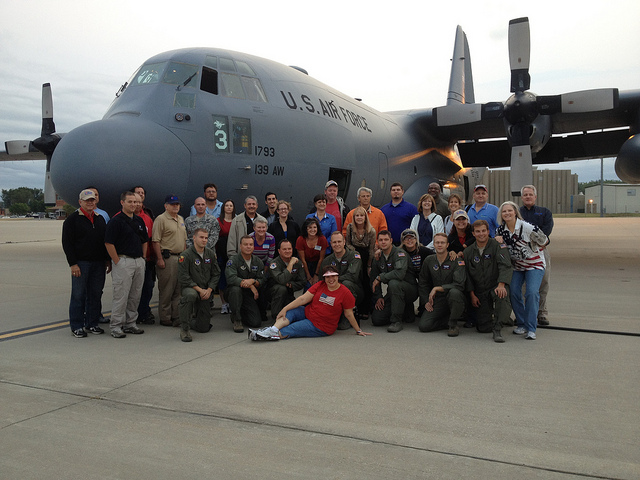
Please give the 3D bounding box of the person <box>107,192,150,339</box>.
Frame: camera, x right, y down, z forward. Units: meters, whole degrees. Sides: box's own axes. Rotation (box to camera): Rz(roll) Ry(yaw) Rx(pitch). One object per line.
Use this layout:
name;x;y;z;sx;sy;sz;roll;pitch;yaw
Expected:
person;-2.801;0.358;6.791;0.584;2.106;0.382;-2;2;-38

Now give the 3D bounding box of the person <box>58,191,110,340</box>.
person;-3.394;0.353;6.729;0.597;2.101;0.485;-2;2;-27

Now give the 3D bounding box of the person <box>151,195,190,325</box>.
person;-2.403;0.339;7.350;0.519;2.040;0.364;-1;2;-21

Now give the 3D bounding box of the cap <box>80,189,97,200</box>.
cap;-3.339;-0.649;6.623;0.185;0.148;0.283;-2;3;-29

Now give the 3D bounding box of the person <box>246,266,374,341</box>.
person;-0.273;0.805;6.874;1.406;0.867;1.086;0;5;-12

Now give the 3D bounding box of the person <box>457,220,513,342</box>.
person;2.344;0.558;6.627;0.740;1.667;0.546;0;2;30
